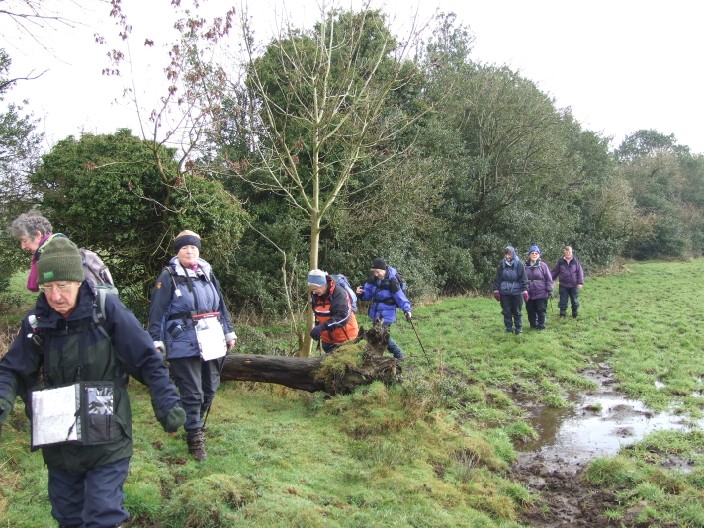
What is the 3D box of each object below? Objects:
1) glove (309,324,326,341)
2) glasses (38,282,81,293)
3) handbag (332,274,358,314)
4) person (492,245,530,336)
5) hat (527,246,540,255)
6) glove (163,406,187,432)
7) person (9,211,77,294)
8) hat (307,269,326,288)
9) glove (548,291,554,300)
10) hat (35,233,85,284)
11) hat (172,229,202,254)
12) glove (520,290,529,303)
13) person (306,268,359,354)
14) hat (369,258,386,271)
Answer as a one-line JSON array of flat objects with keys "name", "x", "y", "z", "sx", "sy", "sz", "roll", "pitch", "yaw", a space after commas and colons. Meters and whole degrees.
[{"name": "glove", "x": -0.589, "y": 1.166, "z": 11.114, "sx": 0.219, "sy": 0.090, "sz": 0.236, "roll": -6, "pitch": 16, "yaw": -17}, {"name": "glasses", "x": -3.141, "y": 0.250, "z": 7.124, "sx": 0.396, "sy": 0.121, "sz": 0.107, "roll": -3, "pitch": -5, "yaw": -8}, {"name": "handbag", "x": -0.150, "y": 0.515, "z": 11.625, "sx": 0.252, "sy": 0.497, "sz": 0.625, "roll": -17, "pitch": -40, "yaw": 40}, {"name": "person", "x": 3.926, "y": 0.626, "z": 16.435, "sx": 0.794, "sy": 2.227, "sz": 0.737, "roll": -4, "pitch": -5, "yaw": 13}, {"name": "hat", "x": 5.237, "y": -0.404, "z": 19.223, "sx": 0.382, "sy": 0.260, "sz": 0.532, "roll": 2, "pitch": 2, "yaw": 10}, {"name": "glove", "x": -1.955, "y": 1.718, "z": 7.264, "sx": 0.179, "sy": 0.305, "sz": 0.066, "roll": 21, "pitch": -21, "yaw": -30}, {"name": "person", "x": -4.045, "y": -0.153, "z": 8.645, "sx": 0.580, "sy": 1.232, "sz": 0.540, "roll": -8, "pitch": -11, "yaw": 20}, {"name": "hat", "x": -0.589, "y": 0.236, "z": 11.175, "sx": 0.314, "sy": 0.325, "sz": 0.381, "roll": -3, "pitch": -5, "yaw": 0}, {"name": "glove", "x": 4.972, "y": 0.776, "z": 16.732, "sx": 0.138, "sy": 0.214, "sz": 0.067, "roll": 8, "pitch": 18, "yaw": -18}, {"name": "hat", "x": -3.161, "y": -0.058, "z": 7.218, "sx": 0.477, "sy": 0.561, "sz": 0.307, "roll": 0, "pitch": -6, "yaw": -26}, {"name": "hat", "x": -2.308, "y": -0.308, "z": 9.278, "sx": 0.260, "sy": 0.337, "sz": 0.376, "roll": 0, "pitch": 13, "yaw": -12}, {"name": "glove", "x": 4.193, "y": 0.775, "z": 16.066, "sx": 0.082, "sy": 0.253, "sz": 0.172, "roll": -24, "pitch": -29, "yaw": 13}, {"name": "person", "x": -0.313, "y": 0.809, "z": 11.450, "sx": 0.849, "sy": 1.438, "sz": 1.043, "roll": -3, "pitch": -5, "yaw": 2}, {"name": "hat", "x": 0.555, "y": -0.004, "z": 13.408, "sx": 0.217, "sy": 0.200, "sz": 0.226, "roll": -10, "pitch": 12, "yaw": -20}]
